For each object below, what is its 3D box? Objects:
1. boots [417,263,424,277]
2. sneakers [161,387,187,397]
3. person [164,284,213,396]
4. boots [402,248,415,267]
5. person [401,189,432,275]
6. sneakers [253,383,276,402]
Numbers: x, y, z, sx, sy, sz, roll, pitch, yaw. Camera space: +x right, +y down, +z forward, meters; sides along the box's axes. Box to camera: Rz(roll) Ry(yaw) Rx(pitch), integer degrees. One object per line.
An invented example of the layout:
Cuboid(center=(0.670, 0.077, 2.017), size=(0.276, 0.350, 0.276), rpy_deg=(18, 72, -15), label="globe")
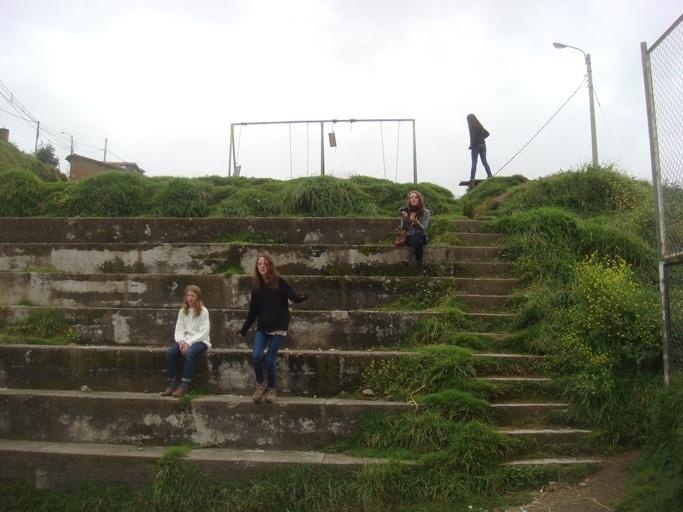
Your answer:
Cuboid(center=(1.505, 0.269, 15.614), size=(0.109, 0.266, 0.255), rpy_deg=(-1, -4, 5), label="boots")
Cuboid(center=(-2.815, 2.319, 13.705), size=(0.480, 0.230, 0.160), rpy_deg=(9, -12, -26), label="sneakers")
Cuboid(center=(-2.674, 1.473, 13.926), size=(0.797, 1.886, 0.482), rpy_deg=(0, -4, -12), label="person")
Cuboid(center=(1.295, 0.040, 15.784), size=(0.169, 0.418, 0.431), rpy_deg=(-4, -37, 18), label="boots")
Cuboid(center=(1.418, -0.492, 15.920), size=(0.517, 1.598, 0.717), rpy_deg=(-2, -4, 8), label="person")
Cuboid(center=(-1.288, 2.283, 13.336), size=(0.208, 0.175, 0.384), rpy_deg=(1, -22, -1), label="sneakers")
